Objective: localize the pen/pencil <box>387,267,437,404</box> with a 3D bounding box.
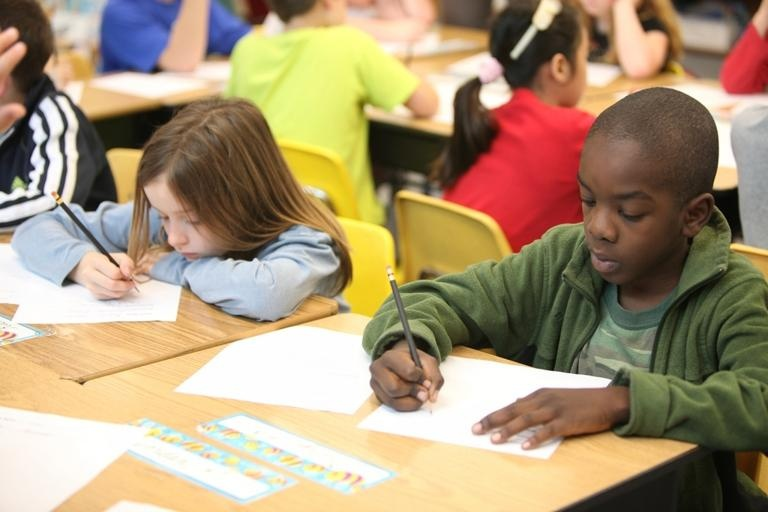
[{"bbox_3d":[0.053,0.164,1.287,0.023,0.020,0.278,-25,68,7],"label":"pen/pencil"}]
